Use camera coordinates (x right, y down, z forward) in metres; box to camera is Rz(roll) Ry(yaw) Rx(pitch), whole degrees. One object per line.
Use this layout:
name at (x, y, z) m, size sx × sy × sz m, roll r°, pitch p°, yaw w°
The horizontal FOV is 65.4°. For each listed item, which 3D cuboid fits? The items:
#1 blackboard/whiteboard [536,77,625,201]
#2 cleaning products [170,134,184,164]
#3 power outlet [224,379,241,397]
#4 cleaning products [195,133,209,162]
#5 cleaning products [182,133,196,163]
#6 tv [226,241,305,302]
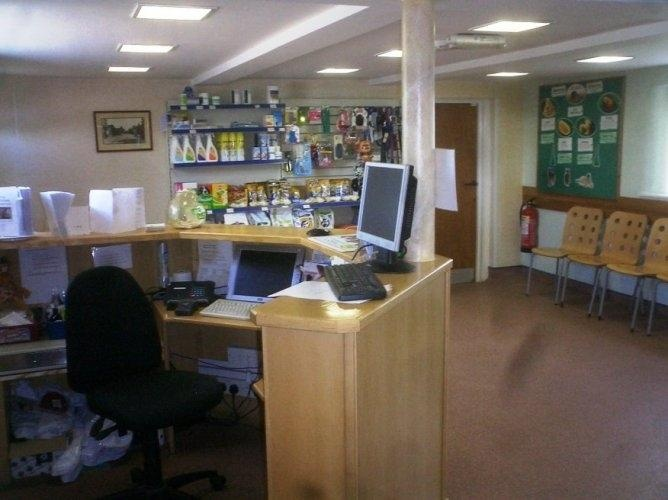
blackboard/whiteboard at (3.084, -1.397, 6.438) m, size 0.184 × 1.661 × 1.526 m, roll -5°, pitch 10°, yaw -31°
cleaning products at (-1.601, -1.018, 5.282) m, size 0.129 × 0.286 × 0.185 m, roll -5°, pitch 11°, yaw -16°
power outlet at (-0.715, 0.985, 3.701) m, size 0.116 × 0.122 × 0.105 m, roll -1°, pitch 7°, yaw -13°
cleaning products at (-1.367, -1.060, 5.399) m, size 0.121 × 0.267 × 0.166 m, roll 2°, pitch 12°, yaw 22°
cleaning products at (-1.486, -1.033, 5.328) m, size 0.125 × 0.277 × 0.209 m, roll -5°, pitch 11°, yaw -13°
tv at (-0.387, 0.130, 3.032) m, size 0.389 × 0.272 × 0.028 m, roll 2°, pitch -17°, yaw 19°
